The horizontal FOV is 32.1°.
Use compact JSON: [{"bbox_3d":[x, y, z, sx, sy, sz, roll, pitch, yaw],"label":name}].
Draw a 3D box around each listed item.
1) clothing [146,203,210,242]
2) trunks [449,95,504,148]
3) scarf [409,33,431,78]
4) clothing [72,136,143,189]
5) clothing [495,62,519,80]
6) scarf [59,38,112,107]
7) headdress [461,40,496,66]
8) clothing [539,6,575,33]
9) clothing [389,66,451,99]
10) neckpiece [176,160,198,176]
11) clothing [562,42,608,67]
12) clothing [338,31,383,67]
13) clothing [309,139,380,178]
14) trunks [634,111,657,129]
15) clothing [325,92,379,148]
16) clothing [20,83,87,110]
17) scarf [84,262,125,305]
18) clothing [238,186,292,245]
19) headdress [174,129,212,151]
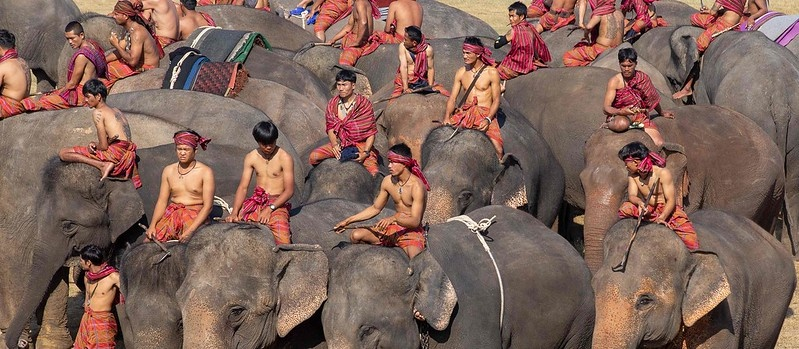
[{"bbox_3d":[-3.018,0.577,19.246,0.581,0.250,0.790,3,32,4],"label":"clothing"},{"bbox_3d":[1.143,-0.767,20.162,0.757,0.670,0.227,17,-42,0],"label":"trunks"},{"bbox_3d":[0.346,-1.750,21.394,0.437,0.513,0.205,-1,2,-8],"label":"scarf"},{"bbox_3d":[-4.143,-0.161,19.647,0.915,0.585,0.361,11,-31,-1],"label":"clothing"},{"bbox_3d":[1.719,-1.624,22.267,0.288,0.119,0.333,-11,30,-30],"label":"clothing"},{"bbox_3d":[-5.080,-1.550,21.227,0.943,0.873,0.998,10,16,7],"label":"scarf"},{"bbox_3d":[1.245,-1.854,20.759,0.518,0.184,0.435,12,-5,-15],"label":"headdress"},{"bbox_3d":[2.791,-2.722,24.522,0.593,0.241,0.554,-13,16,23],"label":"clothing"},{"bbox_3d":[0.261,-1.357,21.154,0.632,0.199,0.572,-8,33,-19],"label":"clothing"},{"bbox_3d":[-2.944,-0.080,19.156,0.209,0.258,0.135,3,-50,10],"label":"neckpiece"},{"bbox_3d":[3.060,-1.977,23.013,0.614,0.252,0.486,-27,8,17],"label":"clothing"},{"bbox_3d":[-0.635,-2.066,23.164,0.650,0.606,0.234,-31,-51,16],"label":"clothing"},{"bbox_3d":[-0.802,-0.313,20.592,0.982,0.325,1.114,-13,2,12],"label":"clothing"},{"bbox_3d":[3.617,-0.773,20.508,0.382,0.362,0.185,4,-12,-6],"label":"trunks"},{"bbox_3d":[-0.699,-0.752,20.354,0.934,0.755,0.489,4,6,23],"label":"clothing"},{"bbox_3d":[-5.031,-1.065,20.271,0.687,0.245,0.489,-6,0,12],"label":"clothing"},{"bbox_3d":[-4.175,1.500,19.657,0.562,0.622,0.314,-5,2,1],"label":"scarf"},{"bbox_3d":[-1.781,0.563,18.666,0.851,0.817,0.505,0,-12,15],"label":"clothing"},{"bbox_3d":[-2.851,-0.465,19.173,0.356,0.133,0.337,1,15,-42],"label":"headdress"}]
